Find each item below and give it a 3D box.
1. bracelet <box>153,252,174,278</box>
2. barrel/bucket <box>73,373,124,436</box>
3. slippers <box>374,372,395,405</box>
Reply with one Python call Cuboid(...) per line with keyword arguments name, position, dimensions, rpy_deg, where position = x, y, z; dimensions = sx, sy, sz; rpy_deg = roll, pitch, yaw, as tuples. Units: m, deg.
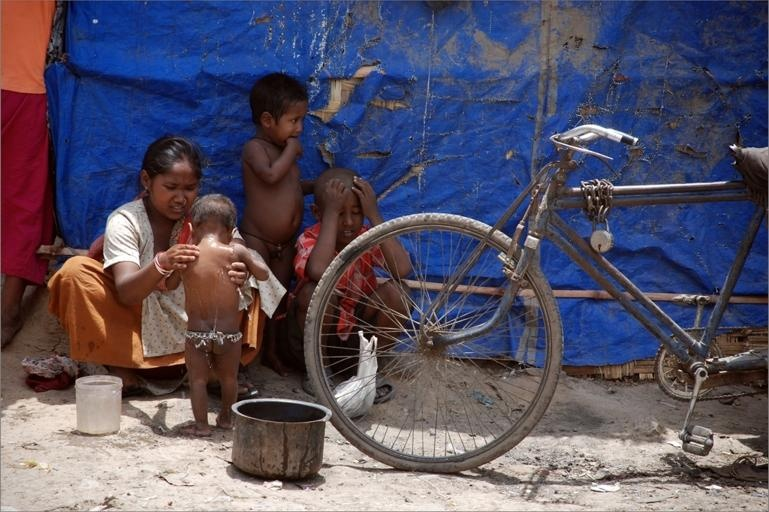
Cuboid(name="bracelet", position=(-1.349, 0.061, 5.035), dimensions=(0.131, 0.131, 0.051), rpy_deg=(-3, 41, 18))
Cuboid(name="barrel/bucket", position=(-1.703, 0.868, 4.946), dimensions=(0.253, 0.282, 0.295), rpy_deg=(0, 15, -19))
Cuboid(name="slippers", position=(0.001, 0.906, 5.610), dimensions=(0.179, 0.218, 0.091), rpy_deg=(10, 39, 9))
